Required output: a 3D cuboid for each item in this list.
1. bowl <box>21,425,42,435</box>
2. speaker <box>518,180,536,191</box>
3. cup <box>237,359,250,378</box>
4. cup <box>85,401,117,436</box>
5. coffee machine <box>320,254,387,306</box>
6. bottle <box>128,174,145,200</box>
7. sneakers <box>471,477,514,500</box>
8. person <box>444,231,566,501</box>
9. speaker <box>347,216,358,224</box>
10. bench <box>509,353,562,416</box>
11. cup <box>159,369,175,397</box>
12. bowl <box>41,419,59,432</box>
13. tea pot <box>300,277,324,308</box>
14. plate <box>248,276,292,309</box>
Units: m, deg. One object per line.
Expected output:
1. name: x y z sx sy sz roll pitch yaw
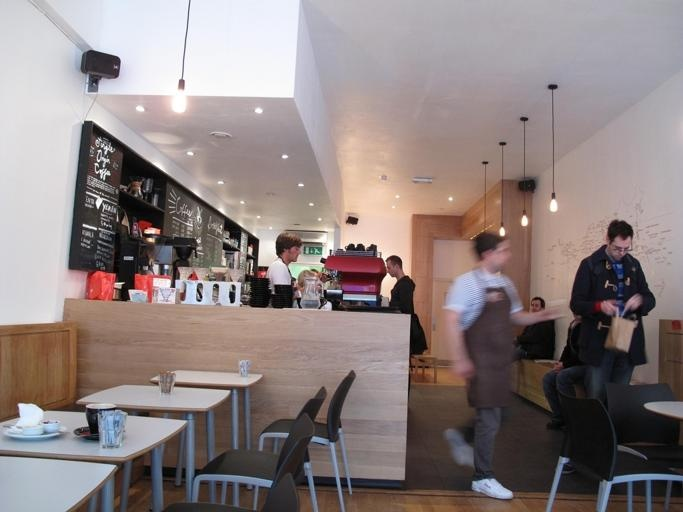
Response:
1. bowl: -1.356 0.767 2.201 0.077 0.033 0.080 1 -5 0
2. speaker: 2.953 -1.109 8.006 0.295 0.166 0.269 0 6 -33
3. cup: -0.686 0.788 3.525 0.094 0.146 0.109 1 -3 -17
4. cup: -1.079 0.705 2.206 0.148 0.147 0.170 4 -16 -8
5. coffee machine: 0.105 0.225 4.439 0.481 0.484 0.425 1 -5 5
6. bottle: -2.177 -0.735 5.341 0.157 0.239 0.227 3 -13 -9
7. sneakers: 1.086 1.650 3.604 0.255 0.104 0.126 -9 -16 44
8. person: 1.025 0.775 3.478 0.595 1.885 0.792 0 -5 14
9. speaker: 0.231 -0.792 11.112 0.258 0.198 0.518 1 -5 0
10. bench: 2.621 1.719 6.833 0.625 0.582 1.173 0 -6 20
11. cup: -1.002 0.735 2.941 0.102 0.128 0.106 -1 -6 0
12. bowl: -1.297 0.750 2.237 0.054 0.032 0.052 0 -5 0
13. tea pot: -0.247 0.296 4.039 0.213 0.307 0.217 1 -6 0
14. plate: -0.573 0.312 4.105 0.338 0.215 0.211 2 -4 4
